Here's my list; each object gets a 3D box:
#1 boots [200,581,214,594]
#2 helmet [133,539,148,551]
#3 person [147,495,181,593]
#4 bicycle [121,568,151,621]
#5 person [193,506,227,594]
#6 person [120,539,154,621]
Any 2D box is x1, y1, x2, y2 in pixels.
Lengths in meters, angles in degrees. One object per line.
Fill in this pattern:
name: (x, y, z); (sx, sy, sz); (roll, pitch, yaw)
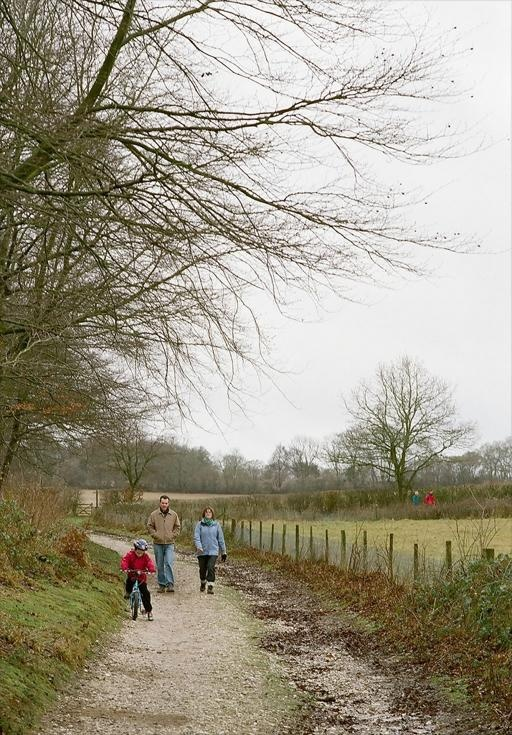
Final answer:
boots: (-0.851, 3.744, 13.110); (0.115, 0.299, 0.378); (8, -20, -26)
helmet: (-1.556, 2.349, 10.265); (0.158, 0.167, 0.537); (2, -8, -10)
person: (-1.554, 2.921, 12.821); (0.513, 1.657, 2.125); (1, -7, -6)
bicycle: (-1.608, 2.995, 10.264); (0.332, 0.412, 0.630); (1, -17, -9)
person: (-0.793, 3.124, 13.210); (0.487, 1.474, 0.873); (1, -6, -2)
person: (-1.604, 2.774, 10.268); (0.306, 1.054, 0.927); (1, 3, -14)
